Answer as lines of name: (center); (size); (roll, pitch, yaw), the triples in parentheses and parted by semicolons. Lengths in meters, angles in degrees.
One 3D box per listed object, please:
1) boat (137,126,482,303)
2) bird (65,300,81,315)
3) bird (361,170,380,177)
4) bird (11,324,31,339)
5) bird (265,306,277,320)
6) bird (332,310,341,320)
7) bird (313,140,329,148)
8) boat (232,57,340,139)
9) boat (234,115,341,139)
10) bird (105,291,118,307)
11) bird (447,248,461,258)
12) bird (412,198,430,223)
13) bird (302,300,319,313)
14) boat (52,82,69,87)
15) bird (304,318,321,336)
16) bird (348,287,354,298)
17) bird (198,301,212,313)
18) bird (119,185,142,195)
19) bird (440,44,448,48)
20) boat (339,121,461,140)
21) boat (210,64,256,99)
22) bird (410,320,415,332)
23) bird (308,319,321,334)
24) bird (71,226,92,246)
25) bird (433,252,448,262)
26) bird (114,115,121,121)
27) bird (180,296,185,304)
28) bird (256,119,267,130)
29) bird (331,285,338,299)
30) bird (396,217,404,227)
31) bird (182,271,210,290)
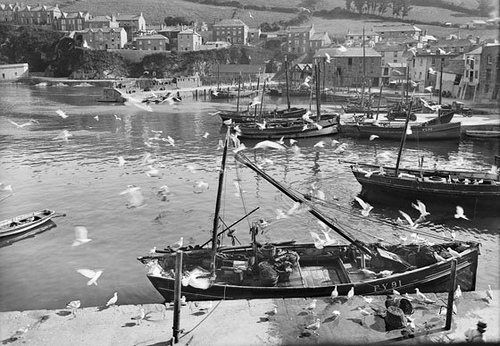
boat: (2.427, 1.932, 18.632); (13.238, 6.759, 4.113); (-3, 12, -4)
bird: (-6.432, 4.852, 17.569); (0.425, 0.352, 0.616); (-7, 13, -28)
bird: (6.989, 0.003, 28.694); (0.539, 0.249, 0.539); (17, 17, 36)
bird: (-7.856, 5.366, 16.492); (0.583, 0.310, 0.667); (-3, 12, -12)
bird: (0.763, 5.005, 17.385); (0.422, 0.253, 0.601); (0, 11, 5)
bird: (3.049, 4.994, 16.990); (0.226, 0.278, 0.280); (-30, -11, 11)
bird: (6.244, -2.698, 42.841); (0.986, 0.443, 0.970); (-10, 25, -2)
boat: (3.784, -7.058, 47.653); (10.284, 7.648, 3.765); (0, 12, 25)
boat: (3.771, -4.412, 46.772); (10.879, 2.204, 6.246); (-9, 14, -31)
bird: (-5.165, 4.711, 17.887); (0.415, 0.494, 0.527); (-2, 11, -6)
bird: (7.971, 3.104, 18.741); (0.483, 0.175, 0.137); (36, 14, -20)
bird: (9.233, 2.051, 25.905); (0.814, 0.761, 1.089); (39, 8, 0)
bird: (2.176, 4.772, 17.545); (0.464, 0.450, 0.820); (2, 12, 12)
boat: (-46.542, -21.844, 118.117); (3.797, 0.900, 2.476); (-5, 12, -21)
bird: (2.237, 5.329, 16.606); (0.642, 0.466, 0.292); (-15, -24, 26)
bird: (3.742, 4.441, 17.834); (0.193, 0.460, 0.542); (2, 12, 12)
bird: (-1.661, 4.840, 17.418); (0.490, 0.368, 0.199); (1, -3, -18)
bird: (-7.338, 1.064, 29.660); (0.636, 0.231, 0.631); (1, 10, 20)
bird: (31.604, -20.650, 78.417); (0.223, 0.801, 0.867); (14, 6, -30)
boat: (13.914, -3.868, 44.201); (10.960, 1.896, 2.531); (2, 4, 18)
boat: (-3.087, -16.695, 92.030); (9.037, 4.981, 2.628); (2, 4, 9)
bird: (5.614, 5.246, 16.616); (0.154, 0.318, 0.267); (3, 12, 18)
bird: (2.218, 5.292, 16.617); (0.489, 0.335, 0.272); (-17, -20, 30)
bird: (-8.153, 3.166, 23.685); (0.813, 0.610, 1.154); (24, 16, -33)
bird: (7.363, 3.284, 18.560); (0.487, 0.423, 0.795); (3, 12, 20)
bird: (-16.719, -6.940, 60.631); (0.413, 0.268, 1.782); (-13, 37, -30)
bird: (-2.484, 4.676, 17.805); (0.132, 0.285, 0.277); (-1, 11, -4)
bird: (1.086, -4.383, 43.647); (0.896, 0.425, 0.915); (14, -7, 3)
bird: (3.140, 4.434, 17.849); (0.256, 0.488, 0.509); (1, 11, 10)
bird: (7.799, 2.528, 25.025); (0.290, 0.366, 0.938); (-10, -13, 13)
bird: (-1.940, 4.024, 17.797); (0.779, 0.364, 0.769); (8, 3, -15)
